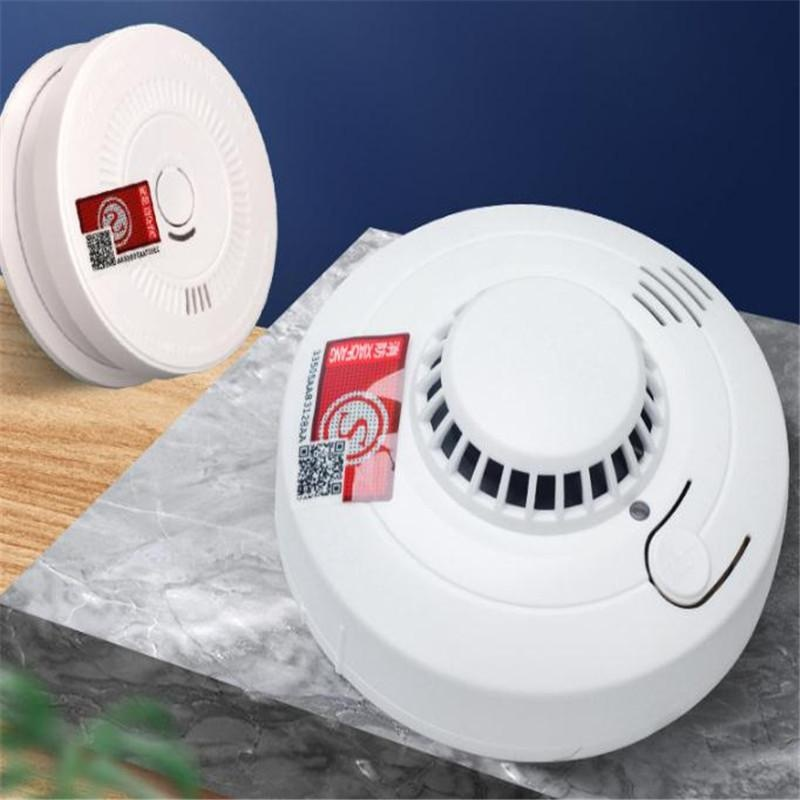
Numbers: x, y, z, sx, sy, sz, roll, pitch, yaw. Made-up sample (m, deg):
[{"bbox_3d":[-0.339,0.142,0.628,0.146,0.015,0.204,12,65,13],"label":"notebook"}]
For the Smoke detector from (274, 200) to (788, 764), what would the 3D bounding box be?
[{"bbox_3d":[0.170,0.062,1.221,0.658,0.506,0.584,3,19,-9],"label":"Smoke detector"}]

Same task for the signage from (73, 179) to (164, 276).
[{"bbox_3d":[-0.387,-0.242,1.283,0.022,0.103,0.171,8,19,17],"label":"signage"}]
